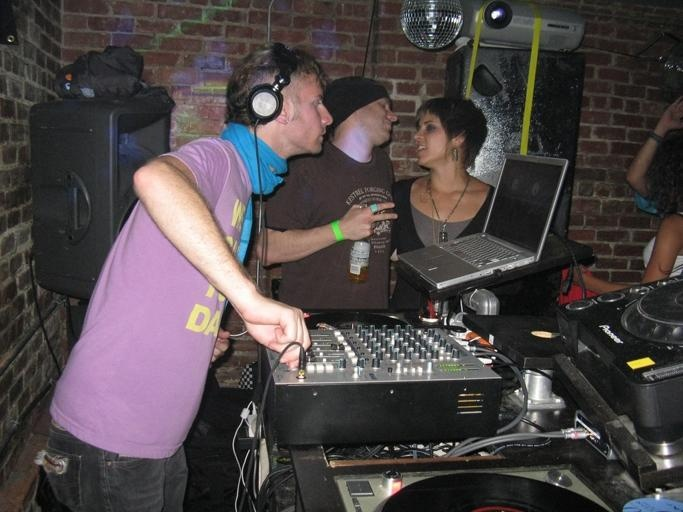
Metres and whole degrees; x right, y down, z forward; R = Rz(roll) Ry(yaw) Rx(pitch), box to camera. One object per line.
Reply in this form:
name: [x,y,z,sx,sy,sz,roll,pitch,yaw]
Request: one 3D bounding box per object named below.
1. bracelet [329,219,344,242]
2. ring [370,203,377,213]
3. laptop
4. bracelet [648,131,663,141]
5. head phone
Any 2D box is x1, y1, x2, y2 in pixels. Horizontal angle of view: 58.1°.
bracelet: [-0.037,-0.112,2.710,0.020,0.076,0.077,-18,-7,-5]
ring: [0.140,-0.208,2.635,0.008,0.033,0.033,1,18,-24]
laptop: [0.550,-0.100,2.195,0.567,0.379,0.440,-16,21,-7]
bracelet: [1.863,-0.714,3.664,0.055,0.019,0.057,26,29,14]
head phone: [-0.229,-0.541,1.987,0.094,0.225,0.225,17,1,-14]
